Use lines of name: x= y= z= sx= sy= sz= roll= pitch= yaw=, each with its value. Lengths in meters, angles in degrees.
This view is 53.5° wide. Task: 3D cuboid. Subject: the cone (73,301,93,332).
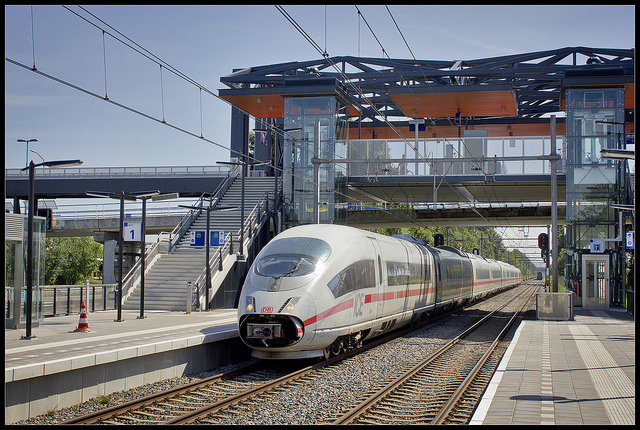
cone: x=-7.457 y=3.180 z=19.972 sx=0.520 sy=0.965 sz=0.839 roll=0 pitch=-2 yaw=-19

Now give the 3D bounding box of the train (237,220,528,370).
train: x=6.553 y=4.354 z=38.017 sx=3.688 sy=4.729 sz=43.331 roll=-1 pitch=-6 yaw=20

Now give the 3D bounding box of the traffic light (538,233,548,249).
traffic light: x=13.589 y=1.629 z=38.732 sx=0.440 sy=0.920 sz=0.776 roll=-2 pitch=-2 yaw=25
